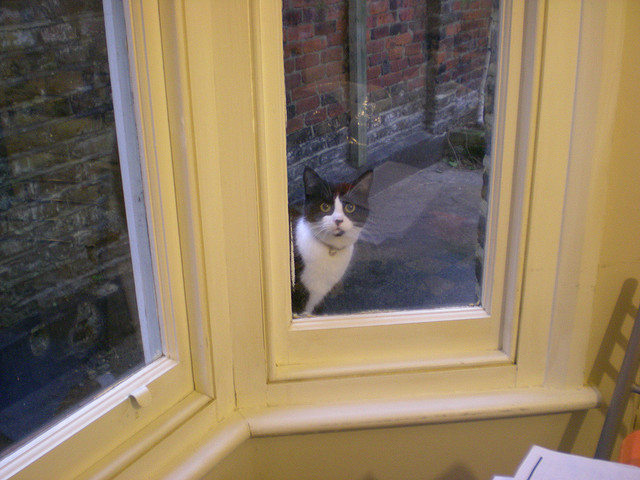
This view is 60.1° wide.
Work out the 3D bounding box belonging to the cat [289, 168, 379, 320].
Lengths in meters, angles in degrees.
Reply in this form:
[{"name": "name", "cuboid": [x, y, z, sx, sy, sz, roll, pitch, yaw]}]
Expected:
[{"name": "cat", "cuboid": [-0.004, 0.013, 1.522, 0.158, 0.436, 0.471, 3, 14, -14]}]
